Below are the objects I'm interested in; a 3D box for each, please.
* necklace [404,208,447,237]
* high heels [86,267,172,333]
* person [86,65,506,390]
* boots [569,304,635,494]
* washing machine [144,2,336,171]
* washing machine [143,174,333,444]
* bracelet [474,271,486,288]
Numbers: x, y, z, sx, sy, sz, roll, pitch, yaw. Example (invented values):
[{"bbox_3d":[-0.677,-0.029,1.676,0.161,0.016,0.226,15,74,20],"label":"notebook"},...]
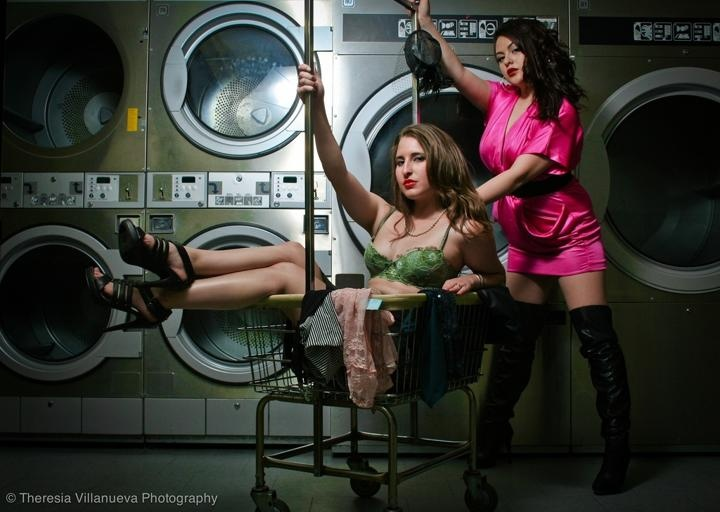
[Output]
[{"bbox_3d":[0.270,-0.133,2.638,0.148,0.090,0.029,-34,-34,28],"label":"necklace"},{"bbox_3d":[-0.821,0.168,2.506,0.451,0.175,0.171,7,20,33],"label":"high heels"},{"bbox_3d":[-0.226,-0.190,2.662,1.667,1.175,0.574,1,3,-7],"label":"person"},{"bbox_3d":[1.077,0.630,2.866,0.244,0.801,0.250,-1,4,14],"label":"boots"},{"bbox_3d":[-0.638,-0.880,3.325,0.899,0.989,0.462,1,-1,-5],"label":"washing machine"},{"bbox_3d":[-0.672,0.243,3.658,0.916,1.422,0.753,1,13,-4],"label":"washing machine"},{"bbox_3d":[0.480,0.100,2.579,0.045,0.051,0.048,-1,7,5],"label":"bracelet"}]
